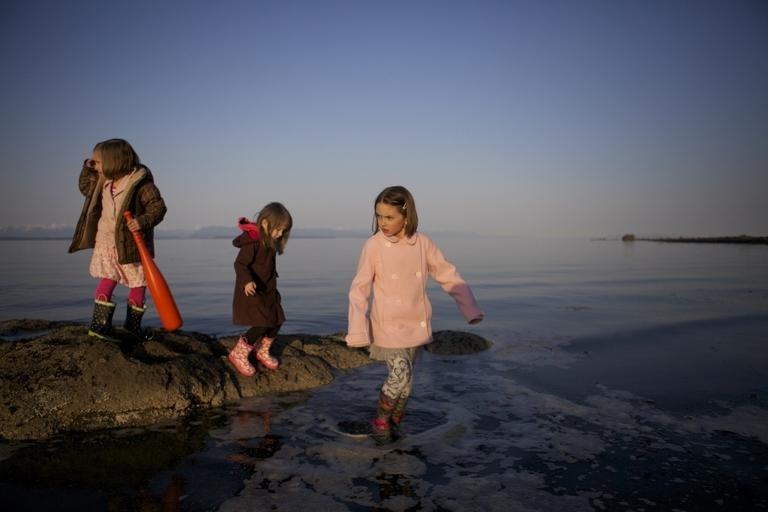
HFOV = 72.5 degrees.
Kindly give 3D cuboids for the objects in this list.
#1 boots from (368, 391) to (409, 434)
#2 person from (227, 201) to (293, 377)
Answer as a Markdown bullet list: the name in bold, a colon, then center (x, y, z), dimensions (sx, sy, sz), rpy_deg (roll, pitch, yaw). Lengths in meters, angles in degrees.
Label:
- **boots**: center (0.073, 1.774, 5.953), dimensions (0.377, 0.503, 0.312), rpy_deg (19, -13, -15)
- **person**: center (-1.655, 0.457, 7.001), dimensions (0.839, 2.338, 0.724), rpy_deg (-7, 16, -29)
